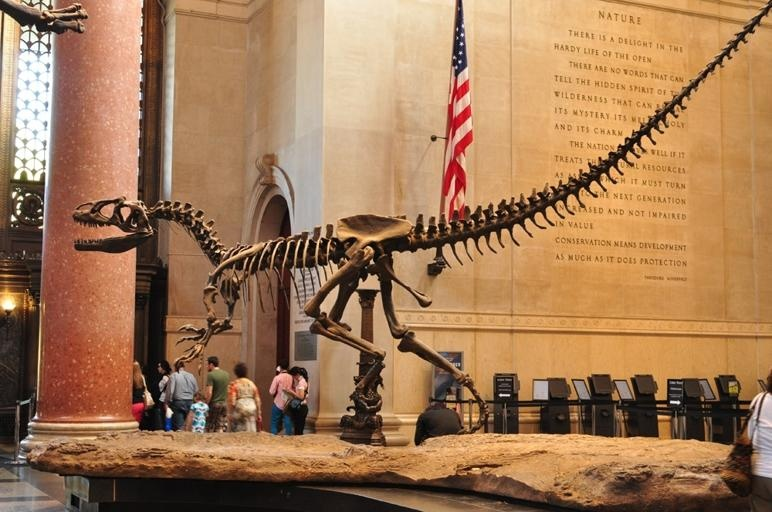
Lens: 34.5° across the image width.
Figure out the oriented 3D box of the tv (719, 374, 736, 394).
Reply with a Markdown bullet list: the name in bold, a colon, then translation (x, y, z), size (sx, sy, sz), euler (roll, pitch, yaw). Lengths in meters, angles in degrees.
- **tv**: translation (6.771, 2.550, 24.517), size (0.344, 0.313, 0.121), euler (2, -19, -7)

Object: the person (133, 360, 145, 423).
- **person**: translation (-4.320, 2.388, 21.673), size (0.268, 1.076, 1.031), euler (4, -8, -10)

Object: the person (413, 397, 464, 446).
- **person**: translation (0.890, 2.725, 19.717), size (0.940, 0.807, 0.492), euler (6, -25, -35)

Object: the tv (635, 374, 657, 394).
- **tv**: translation (4.998, 2.503, 23.934), size (0.463, 0.404, 0.313), euler (1, -8, 9)

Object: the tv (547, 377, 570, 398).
- **tv**: translation (3.273, 2.510, 23.401), size (0.402, 0.396, 0.380), euler (3, -16, -5)

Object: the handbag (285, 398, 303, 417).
- **handbag**: translation (-1.617, 2.697, 22.084), size (0.318, 0.315, 0.243), euler (15, -3, -42)

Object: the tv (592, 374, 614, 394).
- **tv**: translation (4.147, 2.463, 23.689), size (0.362, 0.330, 0.177), euler (2, -24, -9)

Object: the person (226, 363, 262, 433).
- **person**: translation (-2.371, 2.349, 20.647), size (0.501, 1.129, 0.281), euler (4, -8, -9)

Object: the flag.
- **flag**: translation (1.388, -2.792, 23.220), size (0.459, 4.337, 0.654), euler (6, -8, -20)

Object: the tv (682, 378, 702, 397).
- **tv**: translation (5.822, 2.508, 23.504), size (0.227, 0.365, 0.722), euler (-3, -9, 37)
